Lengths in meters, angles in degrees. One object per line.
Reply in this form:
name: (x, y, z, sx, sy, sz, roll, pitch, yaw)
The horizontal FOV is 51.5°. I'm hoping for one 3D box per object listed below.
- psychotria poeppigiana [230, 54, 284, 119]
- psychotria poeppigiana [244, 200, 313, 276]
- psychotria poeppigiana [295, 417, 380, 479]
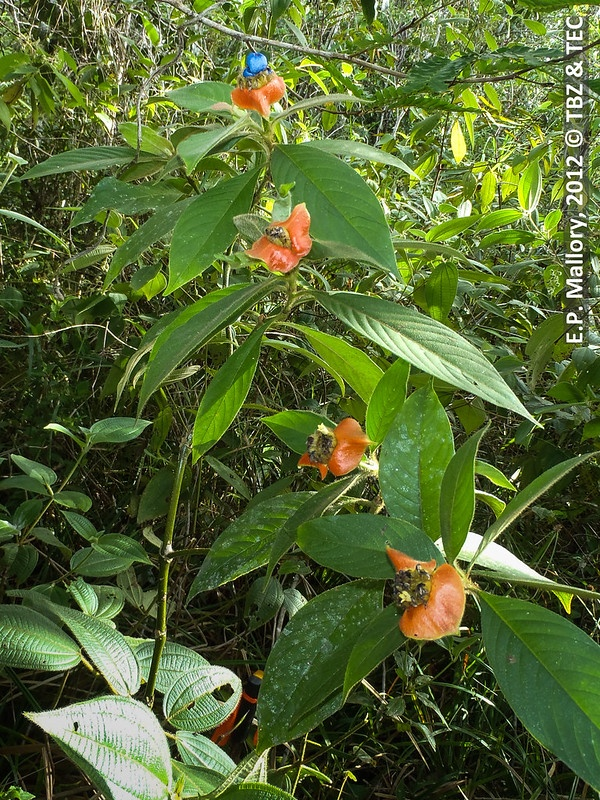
psychotria poeppigiana: (-0.033, -0.298, 0.580, 0.043, 0.044, 0.050, -13, 54, 3)
psychotria poeppigiana: (-0.017, -0.143, 0.545, 0.052, 0.061, 0.073, 8, 12, -3)
psychotria poeppigiana: (0.035, 0.045, 0.610, 0.067, 0.059, 0.039, 12, 13, 16)
